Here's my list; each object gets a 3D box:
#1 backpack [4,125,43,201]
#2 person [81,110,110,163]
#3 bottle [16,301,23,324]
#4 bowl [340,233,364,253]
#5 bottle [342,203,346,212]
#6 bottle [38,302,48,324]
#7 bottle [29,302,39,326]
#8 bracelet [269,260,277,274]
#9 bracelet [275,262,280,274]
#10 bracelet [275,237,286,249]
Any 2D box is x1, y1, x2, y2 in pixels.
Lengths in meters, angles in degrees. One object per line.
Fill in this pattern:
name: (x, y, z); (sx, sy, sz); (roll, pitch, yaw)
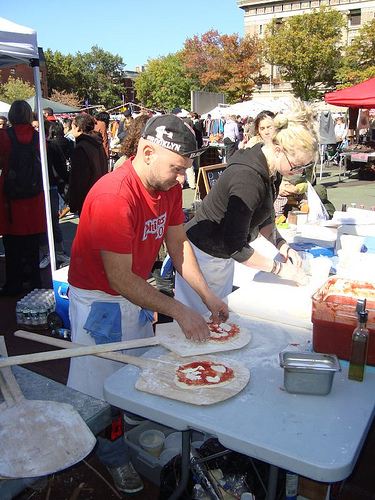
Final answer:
backpack: (-1.726, -0.906, 4.255); (0.369, 0.714, 0.226); (-6, 13, -21)
person: (-1.895, -2.339, 8.656); (0.468, 1.205, 0.426); (-11, 45, -17)
bottle: (-1.626, 0.622, 3.952); (0.059, 0.234, 0.130); (-7, 14, -24)
bowl: (1.163, -0.046, 2.947); (0.143, 0.125, 0.150); (7, -6, 1)
bottle: (1.573, -0.423, 4.093); (0.031, 0.079, 0.100); (3, 13, 20)
bottle: (-1.379, 0.621, 3.873); (0.084, 0.154, 0.056); (-3, 13, -7)
bottle: (-1.467, 0.617, 3.902); (0.078, 0.201, 0.140); (-8, 14, -27)
bracelet: (0.470, 0.094, 2.203); (0.028, 0.068, 0.038); (1, 13, 12)
bracelet: (0.483, 0.095, 2.189); (0.013, 0.049, 0.053); (18, 22, 24)
bracelet: (0.615, -0.046, 2.662); (0.083, 0.059, 0.068); (-4, 12, -14)
